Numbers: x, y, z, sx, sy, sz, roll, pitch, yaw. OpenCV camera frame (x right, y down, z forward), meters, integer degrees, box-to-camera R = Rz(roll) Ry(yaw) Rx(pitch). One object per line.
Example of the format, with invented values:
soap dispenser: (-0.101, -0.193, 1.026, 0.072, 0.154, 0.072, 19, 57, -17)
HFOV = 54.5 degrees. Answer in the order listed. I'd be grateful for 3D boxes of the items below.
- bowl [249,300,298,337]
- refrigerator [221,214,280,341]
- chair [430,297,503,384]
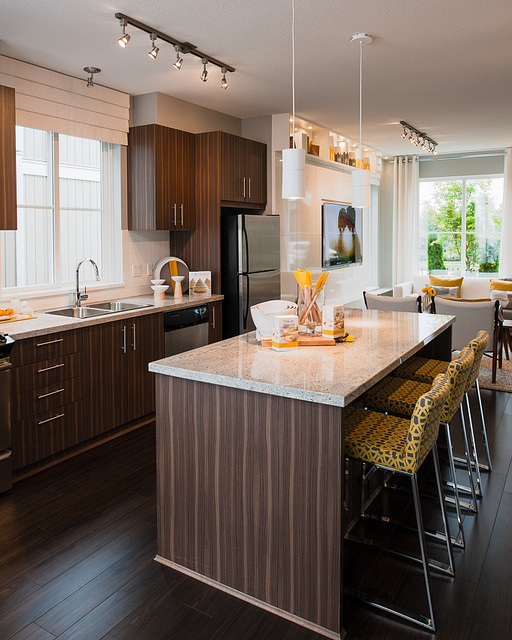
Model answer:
bowl: (0.085, -0.034, 2.326, 0.157, 0.126, 0.198, -2, 5, 8)
refrigerator: (-0.064, -0.422, 4.805, 0.296, 1.167, 0.685, 3, 7, 32)
chair: (2.061, 0.104, 4.956, 0.699, 1.032, 0.852, 2, 9, 33)
